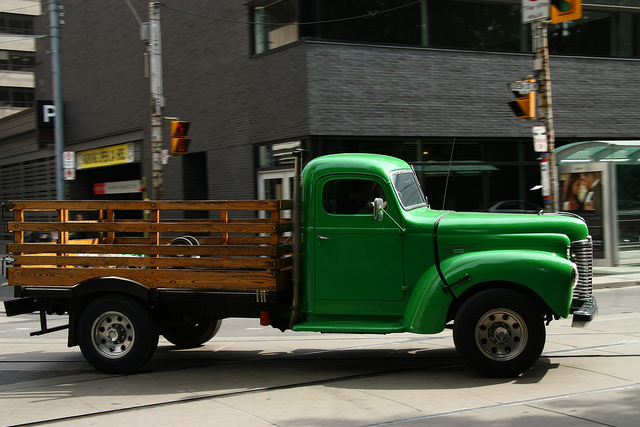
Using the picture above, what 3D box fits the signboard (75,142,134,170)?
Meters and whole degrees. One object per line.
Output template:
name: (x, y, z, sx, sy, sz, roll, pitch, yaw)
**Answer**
signboard: (-8.733, -2.329, 29.285, 2.443, 0.244, 0.047, -9, 5, -2)
